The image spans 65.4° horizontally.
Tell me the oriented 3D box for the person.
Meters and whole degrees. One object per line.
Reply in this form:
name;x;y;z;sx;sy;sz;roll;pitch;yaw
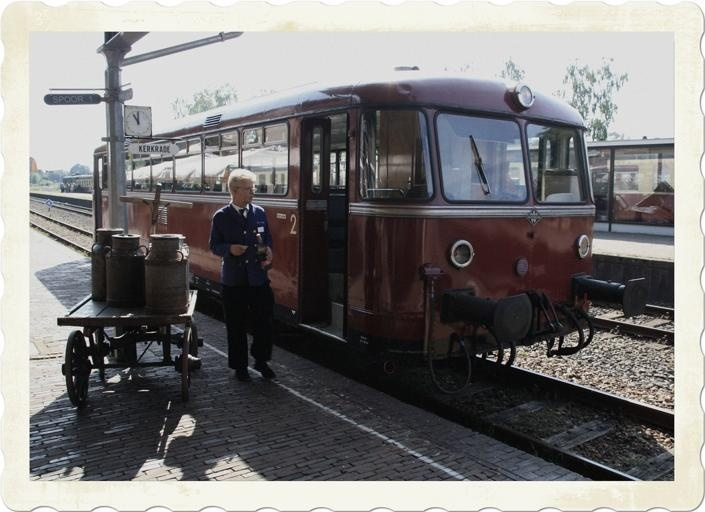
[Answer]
person;-1.364;0.263;6.854;0.766;2.646;0.530;-1;5;-10

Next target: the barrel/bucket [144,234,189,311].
barrel/bucket;-2.093;0.210;6.241;0.486;0.875;0.488;1;6;0
